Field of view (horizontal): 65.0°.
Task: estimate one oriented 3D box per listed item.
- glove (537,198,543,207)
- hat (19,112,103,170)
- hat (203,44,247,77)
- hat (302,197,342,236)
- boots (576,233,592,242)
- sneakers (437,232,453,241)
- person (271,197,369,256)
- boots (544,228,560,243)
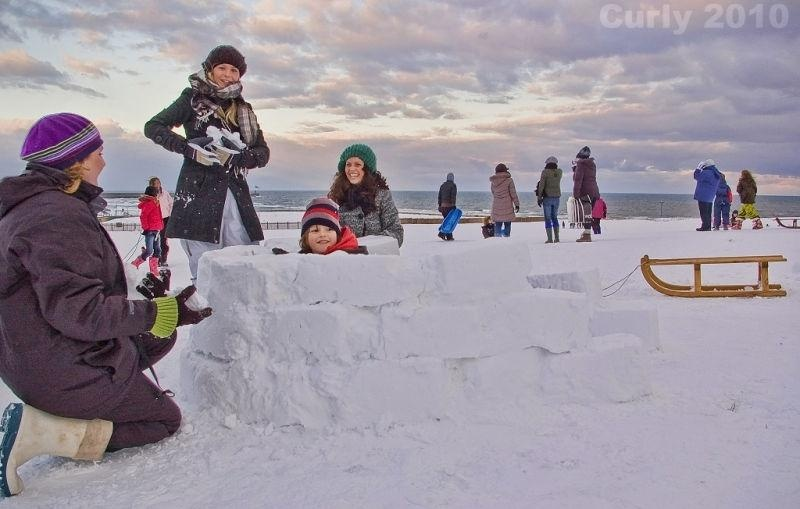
[{"bbox_3d":[2.854,-1.050,12.703,0.125,0.145,0.164,-1,3,2],"label":"glove"},{"bbox_3d":[-2.348,-0.800,4.371,0.395,0.324,0.509,14,32,32],"label":"hat"},{"bbox_3d":[-1.525,-1.693,5.458,0.352,0.244,0.399,-4,11,-17],"label":"hat"},{"bbox_3d":[-0.701,-0.337,5.688,0.342,0.327,0.305,4,-1,-7],"label":"hat"},{"bbox_3d":[3.587,-0.332,12.197,0.274,0.170,0.492,3,11,17],"label":"boots"},{"bbox_3d":[1.013,-0.391,14.328,0.388,0.176,0.136,-3,5,30],"label":"sneakers"},{"bbox_3d":[-0.679,-0.224,5.404,0.635,0.487,0.697,-9,13,-37],"label":"person"},{"bbox_3d":[3.220,-0.392,13.269,0.368,0.425,0.346,-1,9,8],"label":"boots"}]
